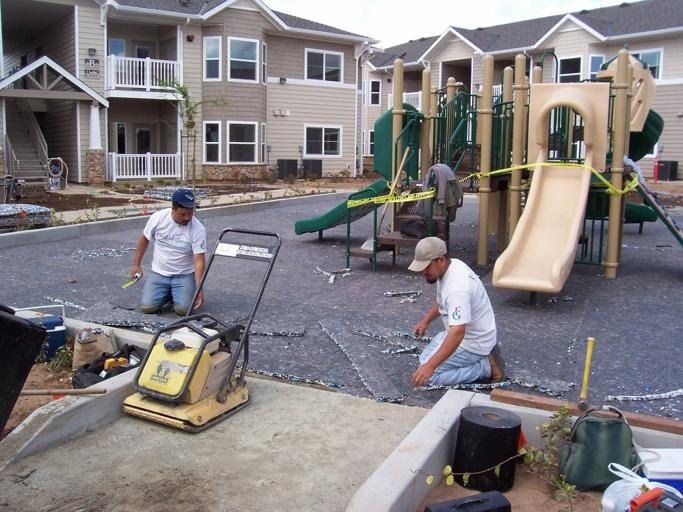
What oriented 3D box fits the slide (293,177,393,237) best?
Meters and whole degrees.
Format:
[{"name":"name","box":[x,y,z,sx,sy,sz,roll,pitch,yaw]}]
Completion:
[{"name":"slide","box":[-0.032,-0.748,10.509,1.620,0.915,0.872,0,-3,26]}]

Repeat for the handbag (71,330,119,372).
[{"name":"handbag","box":[-2.147,0.797,4.864,0.289,0.402,0.410,-1,-1,20]}]

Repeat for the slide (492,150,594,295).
[{"name":"slide","box":[2.574,-0.501,7.718,0.910,1.264,2.794,2,29,28]}]

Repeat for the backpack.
[{"name":"backpack","box":[1.467,1.125,3.305,0.466,0.502,0.278,1,-6,7]}]

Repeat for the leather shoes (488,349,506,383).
[{"name":"leather shoes","box":[1.291,0.906,4.772,0.109,0.319,0.138,2,6,32]}]

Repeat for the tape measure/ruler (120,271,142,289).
[{"name":"tape measure/ruler","box":[-2.649,0.314,7.162,0.084,0.093,0.317,24,-47,-40]}]

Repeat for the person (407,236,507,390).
[{"name":"person","box":[0.888,0.463,4.509,0.760,1.198,1.057,8,14,26]}]

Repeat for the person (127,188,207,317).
[{"name":"person","box":[-1.951,-0.058,6.376,0.844,1.403,0.756,0,13,-7]}]
